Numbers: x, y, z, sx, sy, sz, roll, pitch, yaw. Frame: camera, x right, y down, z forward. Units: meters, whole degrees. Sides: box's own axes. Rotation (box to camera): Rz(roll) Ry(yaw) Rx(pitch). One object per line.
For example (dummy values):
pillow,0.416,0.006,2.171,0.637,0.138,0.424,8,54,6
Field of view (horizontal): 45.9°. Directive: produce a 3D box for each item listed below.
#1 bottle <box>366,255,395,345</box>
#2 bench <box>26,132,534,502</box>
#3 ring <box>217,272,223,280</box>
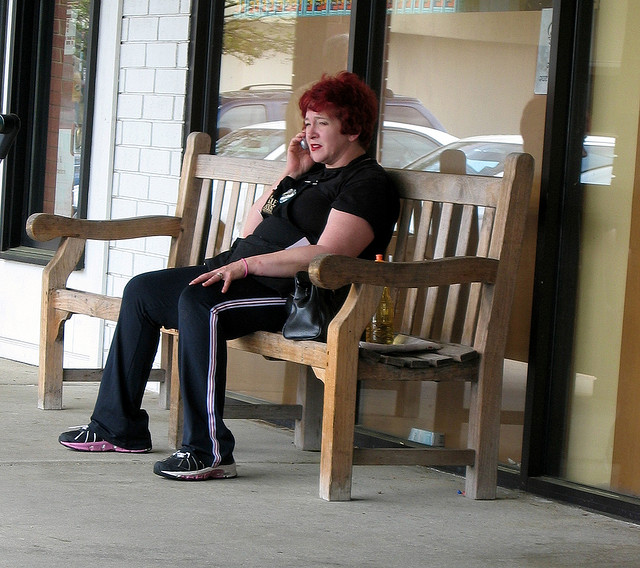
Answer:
bottle,0.238,0.119,2.915,0.106,0.288,0.159,7,-1,1
bench,-0.354,0.023,3.469,0.997,1.070,2.398,-8,13,-39
ring,-0.362,-0.031,2.743,0.011,0.020,0.030,6,0,23
